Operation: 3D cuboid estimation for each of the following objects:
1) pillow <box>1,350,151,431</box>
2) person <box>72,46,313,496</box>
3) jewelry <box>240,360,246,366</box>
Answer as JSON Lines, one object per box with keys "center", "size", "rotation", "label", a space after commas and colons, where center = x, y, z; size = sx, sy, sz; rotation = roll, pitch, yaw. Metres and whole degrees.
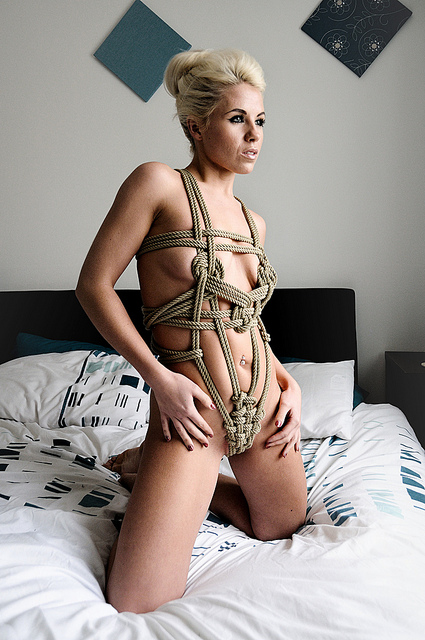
{"center": [-0.512, 0.252, 1.976], "size": [0.399, 0.112, 0.384], "rotation": [5, 14, -16], "label": "pillow"}
{"center": [-0.018, -0.088, 1.106], "size": [0.285, 0.955, 0.512], "rotation": [8, 8, 44], "label": "person"}
{"center": [0.060, 0.087, 1.057], "size": [0.010, 0.009, 0.002], "rotation": [7, -5, -20], "label": "jewelry"}
